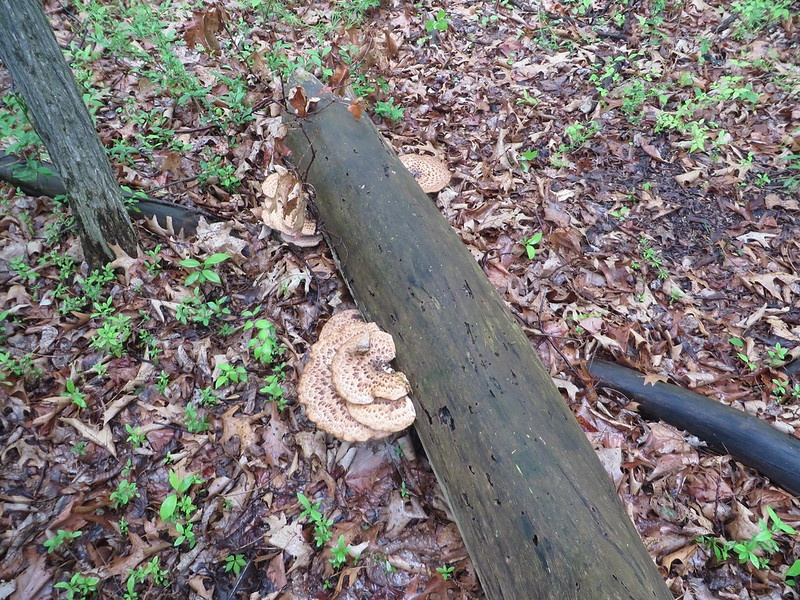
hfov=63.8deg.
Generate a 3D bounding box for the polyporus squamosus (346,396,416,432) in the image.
[{"bbox_3d":[-0.158,1.081,5.913,0.621,0.151,0.304,-5,67,-10],"label":"polyporus squamosus"}]

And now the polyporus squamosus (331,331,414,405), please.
[{"bbox_3d":[-0.314,0.668,5.975,0.650,0.121,0.691,-17,69,-14],"label":"polyporus squamosus"}]

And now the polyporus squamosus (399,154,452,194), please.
[{"bbox_3d":[0.315,-1.484,7.474,0.550,0.206,0.554,-2,50,-35],"label":"polyporus squamosus"}]
